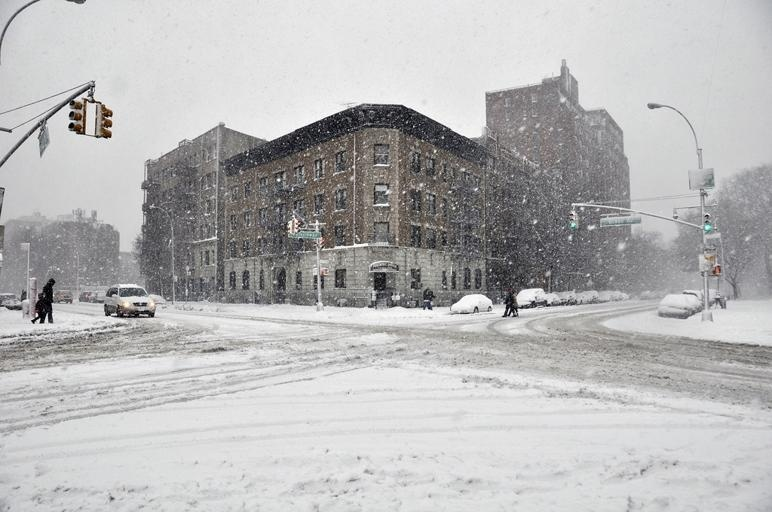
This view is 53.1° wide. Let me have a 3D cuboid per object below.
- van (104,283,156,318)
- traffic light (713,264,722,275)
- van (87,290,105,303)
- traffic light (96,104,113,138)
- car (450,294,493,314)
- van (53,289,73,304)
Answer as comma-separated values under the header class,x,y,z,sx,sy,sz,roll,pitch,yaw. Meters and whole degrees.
class,x,y,z,sx,sy,sz,roll,pitch,yaw
van,-14.638,2.576,43.855,1.794,1.430,2.959,2,-8,-30
traffic light,15.614,0.659,36.452,0.407,0.538,0.426,4,8,15
van,-27.573,3.907,73.446,1.907,1.127,1.261,2,1,36
traffic light,-10.728,-5.148,29.301,0.549,1.311,1.225,-2,6,-22
car,5.235,2.953,47.401,1.096,0.930,2.664,-8,-11,37
van,-31.244,4.011,75.032,1.526,1.291,3.289,0,2,-37
